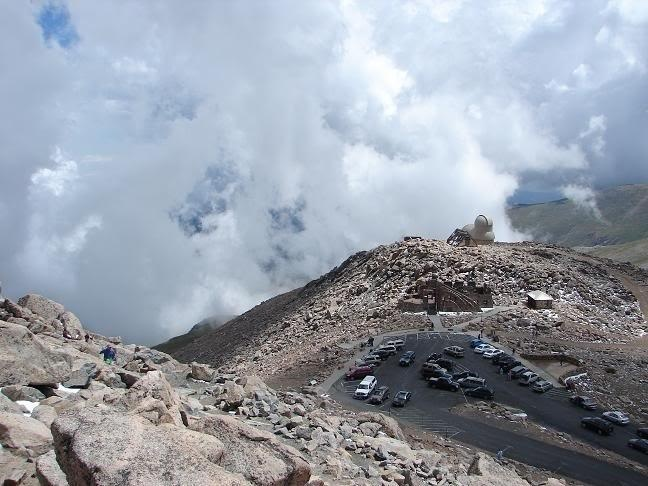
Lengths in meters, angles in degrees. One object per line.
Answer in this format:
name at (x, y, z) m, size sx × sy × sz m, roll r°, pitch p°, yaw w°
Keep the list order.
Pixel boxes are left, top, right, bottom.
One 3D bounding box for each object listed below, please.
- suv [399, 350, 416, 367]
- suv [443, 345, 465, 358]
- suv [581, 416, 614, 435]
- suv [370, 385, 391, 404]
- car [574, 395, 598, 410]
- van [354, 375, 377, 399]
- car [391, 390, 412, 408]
suv at (10.292, 13.940, 47.350) m, size 1.881 × 2.220 × 0.826 m, roll 8°, pitch -49°, yaw -9°
suv at (16.631, 13.553, 48.810) m, size 1.188 × 2.310 × 0.907 m, roll -1°, pitch -78°, yaw -47°
suv at (25.266, 16.562, 35.551) m, size 1.369 × 2.164 × 0.912 m, roll 5°, pitch -83°, yaw -40°
suv at (5.774, 15.312, 39.176) m, size 0.964 × 0.715 × 2.092 m, roll -4°, pitch -6°, yaw 24°
car at (26.771, 16.099, 39.201) m, size 1.833 × 1.003 × 0.677 m, roll -1°, pitch -85°, yaw -14°
van at (4.421, 14.841, 40.135) m, size 1.345 × 2.339 × 0.771 m, roll -5°, pitch -88°, yaw 21°
car at (7.893, 15.372, 38.509) m, size 0.978 × 0.596 × 2.010 m, roll -4°, pitch -6°, yaw 25°
